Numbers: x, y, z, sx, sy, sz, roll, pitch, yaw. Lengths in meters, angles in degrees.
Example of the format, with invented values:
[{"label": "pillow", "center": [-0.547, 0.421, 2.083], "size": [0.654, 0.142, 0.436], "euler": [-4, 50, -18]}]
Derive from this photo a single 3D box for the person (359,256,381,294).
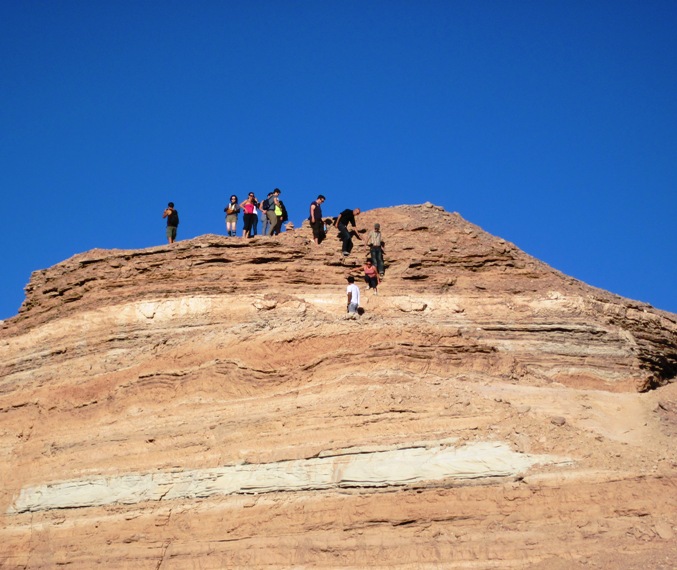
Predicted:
[{"label": "person", "center": [0.776, -0.357, 28.314], "size": [0.399, 1.170, 0.475], "euler": [-7, -43, 0]}]
